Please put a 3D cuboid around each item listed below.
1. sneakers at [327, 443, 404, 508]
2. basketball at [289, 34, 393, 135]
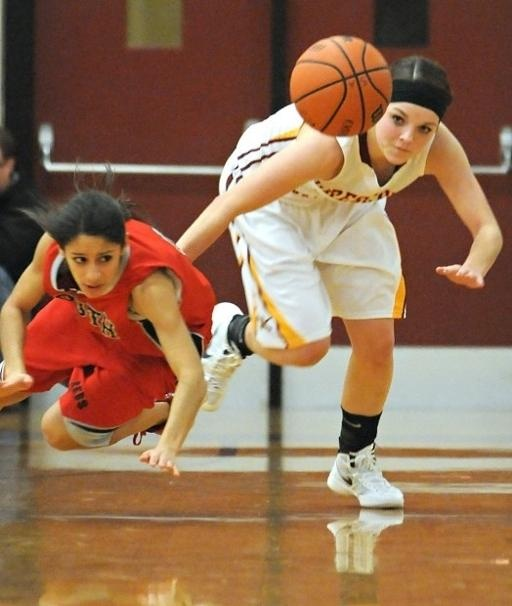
[{"bbox_3d":[0.233,0.350,1.725,0.079,0.110,0.196,7,1,-33],"label":"sneakers"},{"bbox_3d":[0.180,-0.360,1.511,0.198,0.169,0.165,-9,60,-9],"label":"basketball"}]
